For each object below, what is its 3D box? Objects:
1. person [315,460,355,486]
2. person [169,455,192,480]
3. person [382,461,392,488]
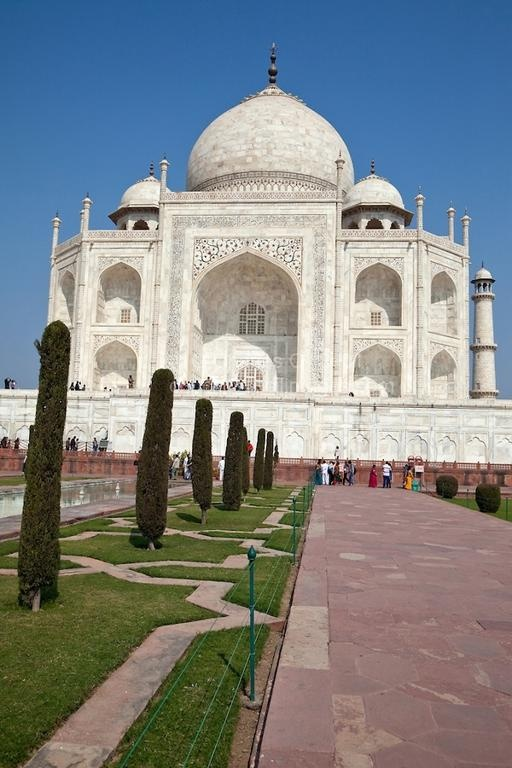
[{"bbox_3d":[2.171,2.418,19.130,1.078,0.678,1.333,2,-6,6],"label":"person"},{"bbox_3d":[-2.029,2.216,18.760,0.585,1.047,0.560,-1,-5,-4],"label":"person"},{"bbox_3d":[3.321,2.309,17.682,0.184,0.628,0.735,2,-6,7],"label":"person"}]
